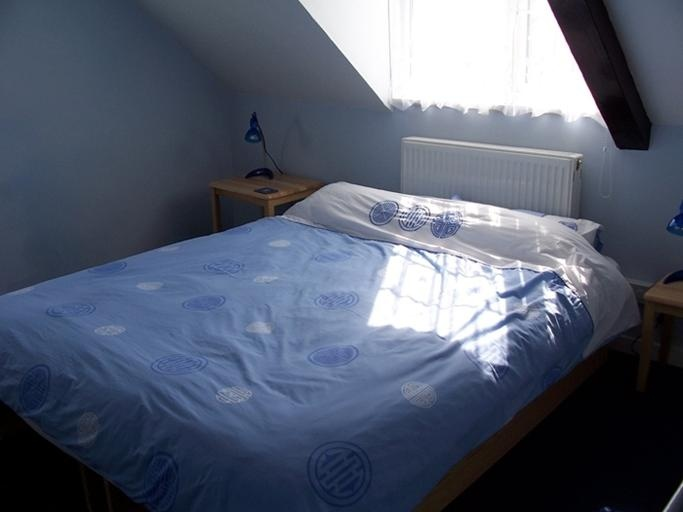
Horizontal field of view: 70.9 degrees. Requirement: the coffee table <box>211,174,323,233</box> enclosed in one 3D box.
[{"bbox_3d":[-0.577,-0.579,3.641,0.546,0.543,0.560,22,30,37],"label":"coffee table"}]
